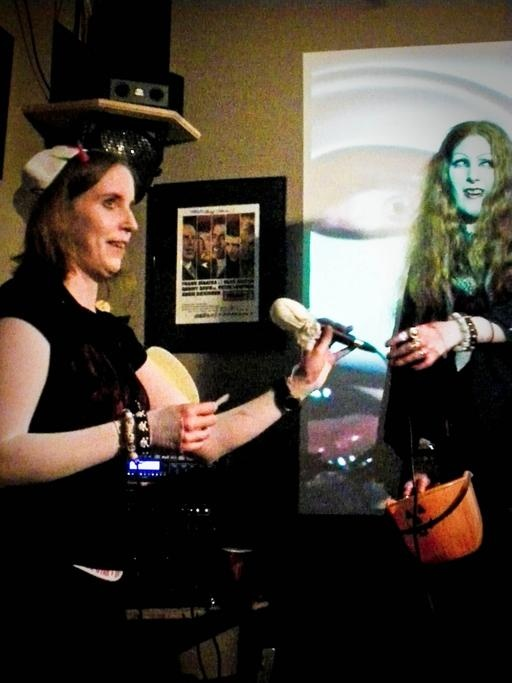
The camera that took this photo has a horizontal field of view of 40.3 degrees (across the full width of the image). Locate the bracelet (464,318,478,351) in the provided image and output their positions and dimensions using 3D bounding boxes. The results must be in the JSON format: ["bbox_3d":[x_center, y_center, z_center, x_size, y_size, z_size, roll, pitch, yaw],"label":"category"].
[{"bbox_3d":[0.574,-0.021,1.854,0.031,0.063,0.052,-9,10,23],"label":"bracelet"}]

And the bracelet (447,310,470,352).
[{"bbox_3d":[0.555,-0.032,1.868,0.032,0.082,0.067,-8,25,21],"label":"bracelet"}]

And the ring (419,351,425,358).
[{"bbox_3d":[0.441,0.033,1.863,0.018,0.016,0.008,0,10,6],"label":"ring"}]

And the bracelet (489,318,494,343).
[{"bbox_3d":[0.628,-0.024,1.860,0.012,0.055,0.013,3,8,11],"label":"bracelet"}]

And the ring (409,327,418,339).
[{"bbox_3d":[0.421,-0.021,1.870,0.024,0.029,0.018,3,8,10],"label":"ring"}]

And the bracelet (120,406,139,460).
[{"bbox_3d":[-0.314,0.228,1.723,0.037,0.089,0.074,2,-11,-13],"label":"bracelet"}]
